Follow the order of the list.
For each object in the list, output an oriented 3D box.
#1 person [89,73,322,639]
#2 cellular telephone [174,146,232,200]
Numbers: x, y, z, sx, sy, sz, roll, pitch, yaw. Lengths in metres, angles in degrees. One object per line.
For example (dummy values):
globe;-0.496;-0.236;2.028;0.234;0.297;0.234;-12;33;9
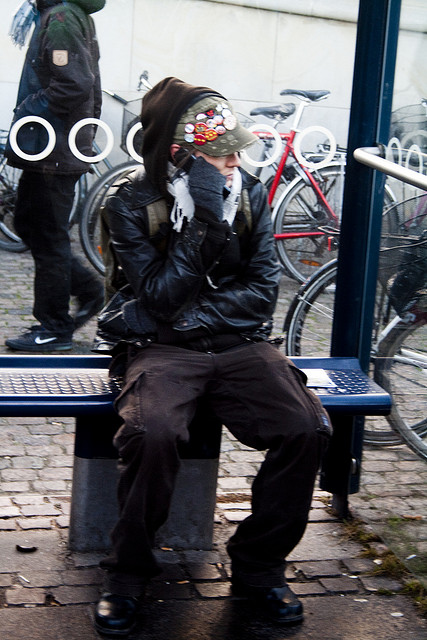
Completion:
person;-0.006;0.061;1.708;0.654;1.506;0.687;3;11;-11
cellular telephone;-0.036;-0.453;1.849;0.158;0.137;0.215;0;23;7
